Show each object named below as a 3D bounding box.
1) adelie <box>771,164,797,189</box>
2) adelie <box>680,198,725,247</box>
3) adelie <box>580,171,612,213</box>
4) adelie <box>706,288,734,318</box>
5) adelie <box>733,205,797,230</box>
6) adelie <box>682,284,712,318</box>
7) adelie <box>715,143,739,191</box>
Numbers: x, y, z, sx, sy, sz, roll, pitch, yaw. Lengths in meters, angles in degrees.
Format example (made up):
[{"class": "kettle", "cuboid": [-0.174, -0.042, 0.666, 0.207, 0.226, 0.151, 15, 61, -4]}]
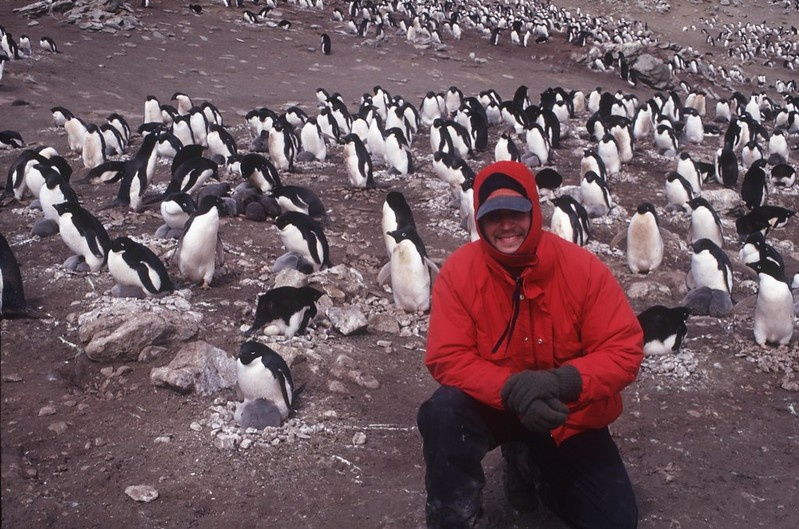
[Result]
[{"class": "adelie", "cuboid": [7.067, -1.637, 11.579, 0.476, 0.379, 0.340, 15, 33, 14]}, {"class": "adelie", "cuboid": [4.385, -0.605, 9.077, 0.552, 0.739, 0.553, 0, 13, 41]}, {"class": "adelie", "cuboid": [3.204, -1.206, 10.380, 0.530, 0.745, 0.447, -11, 32, -2]}, {"class": "adelie", "cuboid": [3.917, 0.472, 7.687, 0.291, 0.224, 0.331, 18, 33, 18]}, {"class": "adelie", "cuboid": [5.619, -0.746, 9.745, 0.794, 0.299, 0.428, -12, 8, -11]}, {"class": "adelie", "cuboid": [3.661, 0.445, 7.725, 0.283, 0.353, 0.172, 38, -2, 32]}, {"class": "adelie", "cuboid": [6.087, -1.723, 11.652, 0.306, 0.988, 0.416, 0, 7, 15]}]
